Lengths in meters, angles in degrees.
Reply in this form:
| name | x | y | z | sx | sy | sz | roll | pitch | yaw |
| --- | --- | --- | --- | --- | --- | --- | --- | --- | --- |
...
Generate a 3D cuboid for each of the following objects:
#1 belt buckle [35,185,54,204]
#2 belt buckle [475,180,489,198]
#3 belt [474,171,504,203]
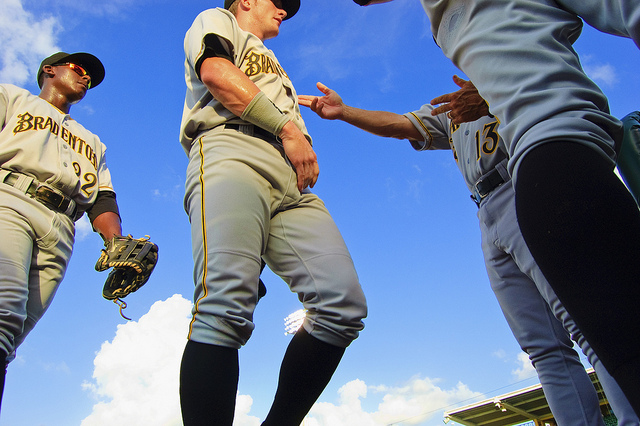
| name | x | y | z | sx | sy | sz | roll | pitch | yaw |
| --- | --- | --- | --- | --- | --- | --- | --- | --- | --- |
| belt buckle | -2.139 | -0.141 | 3.128 | 0.042 | 0.141 | 0.137 | -7 | -93 | 61 |
| belt buckle | 1.159 | -0.160 | 2.920 | 0.067 | 0.025 | 0.097 | 10 | -75 | 27 |
| belt | 1.206 | -0.186 | 2.894 | 0.062 | 0.154 | 0.165 | 49 | -56 | 2 |
